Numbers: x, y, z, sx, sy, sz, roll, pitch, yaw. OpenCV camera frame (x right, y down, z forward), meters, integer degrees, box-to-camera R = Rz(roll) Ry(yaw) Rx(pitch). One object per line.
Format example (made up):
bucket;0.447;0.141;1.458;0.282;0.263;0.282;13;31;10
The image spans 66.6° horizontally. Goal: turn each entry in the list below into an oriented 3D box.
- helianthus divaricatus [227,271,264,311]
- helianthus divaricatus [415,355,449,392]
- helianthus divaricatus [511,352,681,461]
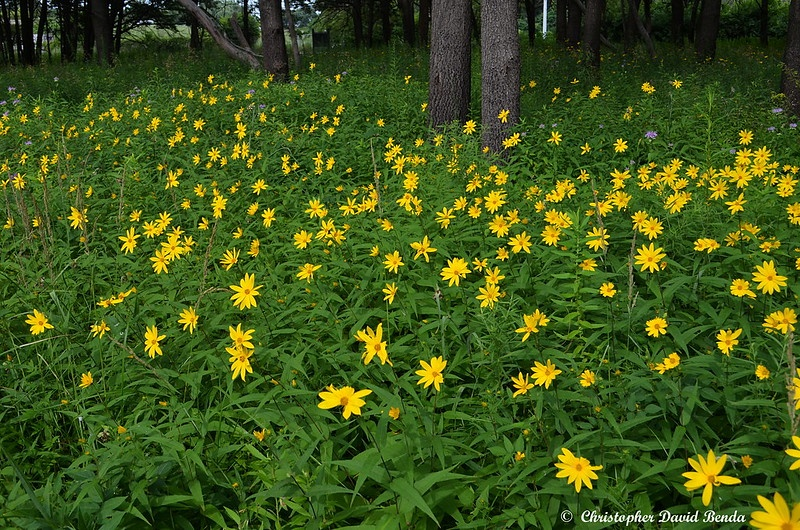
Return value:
helianthus divaricatus;-1.036;0.179;4.141;0.215;0.069;0.273;-7;46;-5
helianthus divaricatus;0.207;0.670;3.706;0.215;0.067;0.261;3;45;22
helianthus divaricatus;1.197;0.837;3.902;0.948;0.537;0.499;3;20;13
